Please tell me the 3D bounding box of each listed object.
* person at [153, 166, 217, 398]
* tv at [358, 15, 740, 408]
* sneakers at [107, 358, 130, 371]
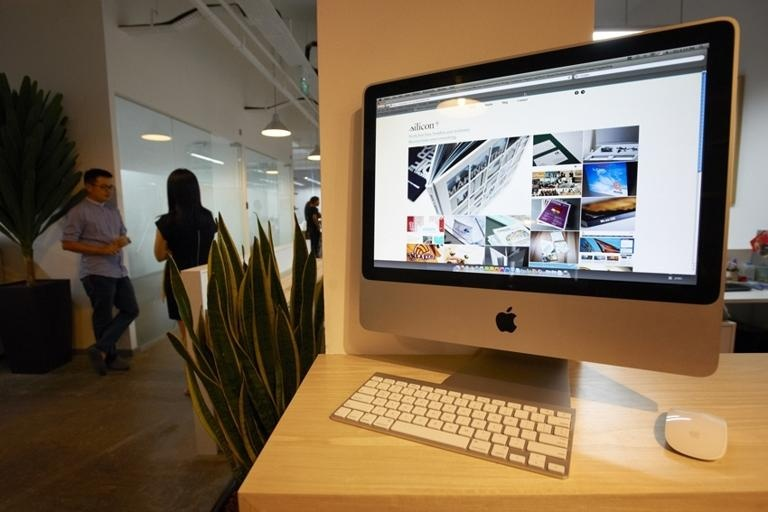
[{"bbox_3d":[-1.485,0.006,4.018,0.449,1.305,0.829,-2,8,-18],"label":"person"},{"bbox_3d":[0.664,-0.146,2.149,1.546,1.483,0.514,1,0,19],"label":"tv"},{"bbox_3d":[-2.130,0.880,4.352,0.196,0.088,0.072,1,15,1],"label":"sneakers"}]
